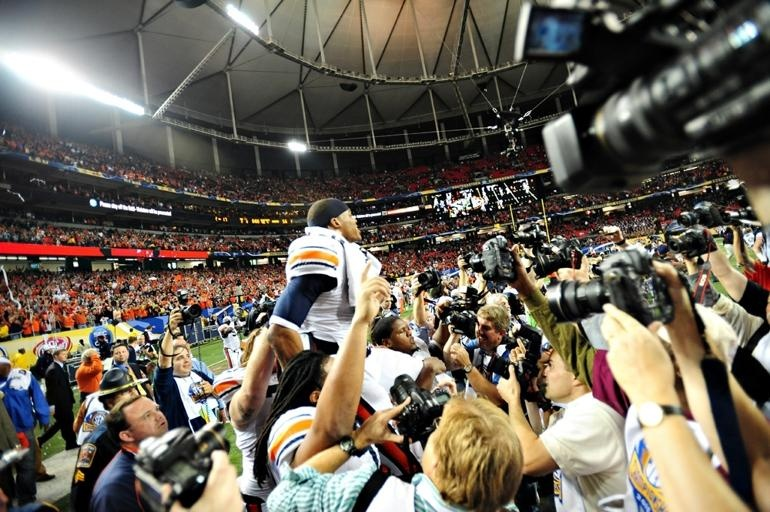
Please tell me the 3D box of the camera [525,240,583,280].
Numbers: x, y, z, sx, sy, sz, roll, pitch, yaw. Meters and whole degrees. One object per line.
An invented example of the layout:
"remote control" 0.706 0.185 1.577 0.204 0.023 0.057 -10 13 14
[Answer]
"camera" 1.479 0.015 3.965 0.578 0.325 0.482 1 -11 -31

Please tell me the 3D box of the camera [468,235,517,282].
"camera" 0.812 0.029 3.217 0.316 0.310 0.327 4 -15 -15

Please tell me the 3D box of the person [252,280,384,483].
"person" -0.420 0.807 2.758 0.546 1.614 0.854 8 22 -15

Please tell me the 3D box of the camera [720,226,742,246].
"camera" 4.254 -0.247 5.387 0.069 0.064 0.218 -7 -15 -9

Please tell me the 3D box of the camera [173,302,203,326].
"camera" -2.211 0.680 4.915 0.284 0.232 0.137 -23 -25 40

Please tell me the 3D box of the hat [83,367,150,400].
"hat" -2.783 1.288 4.529 0.557 0.229 0.508 0 6 6

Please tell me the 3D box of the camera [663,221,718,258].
"camera" 2.972 -0.143 4.348 0.414 0.356 0.568 -5 -3 -12

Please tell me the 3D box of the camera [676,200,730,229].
"camera" 3.296 -0.395 4.545 0.478 0.231 0.312 -7 -9 -19

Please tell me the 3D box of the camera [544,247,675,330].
"camera" 1.065 0.170 2.052 0.353 0.230 0.367 -10 1 35

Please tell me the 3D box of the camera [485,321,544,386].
"camera" 1.163 0.897 3.956 0.385 0.365 0.692 19 -16 14

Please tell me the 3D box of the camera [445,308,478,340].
"camera" 0.824 0.704 4.602 0.251 0.229 0.363 0 2 1

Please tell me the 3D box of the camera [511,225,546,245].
"camera" 1.508 -0.146 4.568 0.287 0.292 0.148 -5 -49 9

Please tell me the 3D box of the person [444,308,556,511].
"person" 0.856 1.087 3.142 0.639 0.680 1.708 -7 20 8

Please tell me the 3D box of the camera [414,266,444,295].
"camera" 0.436 0.231 4.466 0.249 0.144 0.307 -10 -7 2
